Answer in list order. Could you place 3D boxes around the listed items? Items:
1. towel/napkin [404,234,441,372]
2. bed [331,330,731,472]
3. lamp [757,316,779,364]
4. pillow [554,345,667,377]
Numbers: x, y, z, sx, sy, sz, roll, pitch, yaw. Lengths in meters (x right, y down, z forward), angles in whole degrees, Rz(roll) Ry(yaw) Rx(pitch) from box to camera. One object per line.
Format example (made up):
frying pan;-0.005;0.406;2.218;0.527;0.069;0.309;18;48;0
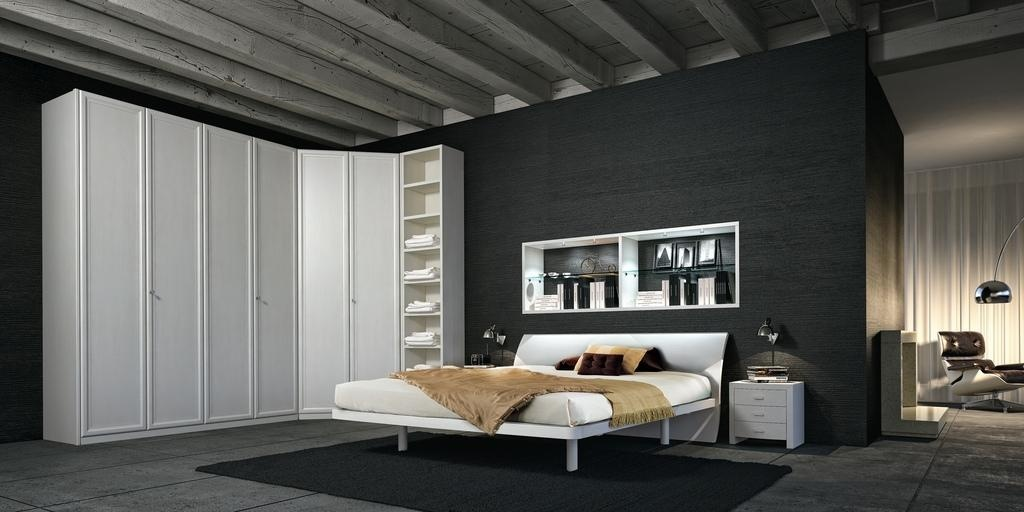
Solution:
towel/napkin;-1.714;0.824;11.957;0.851;2.353;0.589;-7;-1;14
bed;0.320;2.011;9.947;5.233;1.271;4.836;1;-4;-33
lamp;3.964;1.315;9.861;0.307;0.728;0.272;1;7;17
pillow;1.810;1.664;10.457;1.037;0.379;1.743;-1;1;22
